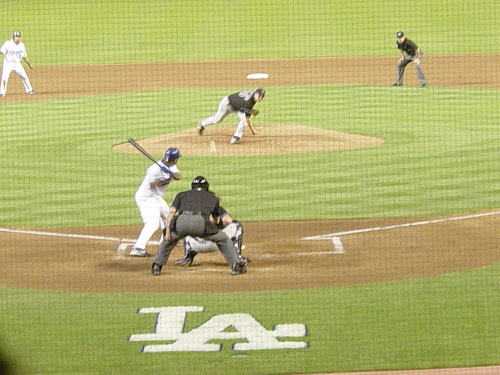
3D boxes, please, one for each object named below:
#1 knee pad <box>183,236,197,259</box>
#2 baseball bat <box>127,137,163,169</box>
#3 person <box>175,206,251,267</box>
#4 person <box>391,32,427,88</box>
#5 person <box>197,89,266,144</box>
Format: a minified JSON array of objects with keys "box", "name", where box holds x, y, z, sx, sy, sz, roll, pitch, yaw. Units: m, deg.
[{"box":[-1.091,1.086,16.044,0.171,0.515,0.225,-5,20,4],"name":"knee pad"},{"box":[-2.361,-0.781,20.190,1.435,0.192,0.112,38,0,30],"name":"baseball bat"},{"box":[-0.804,0.909,16.026,1.041,1.095,1.475,5,-11,-32],"name":"person"},{"box":[4.170,-3.379,23.162,0.790,1.334,0.628,0,11,10],"name":"person"},{"box":[-0.422,-1.799,21.044,1.515,1.244,0.830,11,15,10],"name":"person"}]
